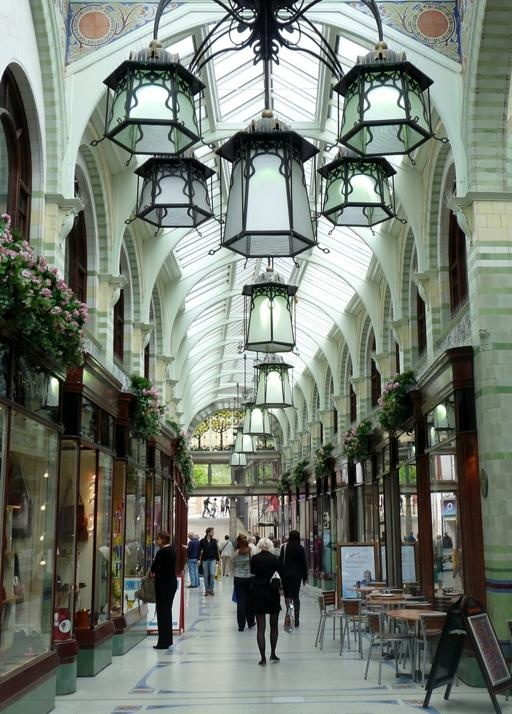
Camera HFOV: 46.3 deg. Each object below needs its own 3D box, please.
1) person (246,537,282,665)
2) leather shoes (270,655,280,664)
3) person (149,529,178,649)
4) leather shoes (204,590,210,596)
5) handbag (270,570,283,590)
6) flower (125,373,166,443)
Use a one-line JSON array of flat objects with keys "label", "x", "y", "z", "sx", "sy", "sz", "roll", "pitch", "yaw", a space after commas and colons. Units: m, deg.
[{"label": "person", "x": 0.151, "y": 3.544, "z": 8.737, "sx": 0.411, "sy": 1.707, "sz": 1.113, "roll": -2, "pitch": -14, "yaw": 0}, {"label": "leather shoes", "x": 0.264, "y": 4.306, "z": 8.523, "sx": 0.145, "sy": 0.166, "sz": 0.069, "roll": 2, "pitch": -5, "yaw": -17}, {"label": "person", "x": -1.540, "y": 3.905, "z": 9.969, "sx": 0.429, "sy": 1.865, "sz": 0.577, "roll": 0, "pitch": -14, "yaw": -9}, {"label": "leather shoes", "x": -1.726, "y": 8.334, "z": 21.059, "sx": 0.115, "sy": 0.121, "sz": 0.219, "roll": 1, "pitch": -44, "yaw": -3}, {"label": "handbag", "x": 0.289, "y": 3.169, "z": 8.488, "sx": 0.112, "sy": 0.258, "sz": 0.332, "roll": -5, "pitch": -15, "yaw": 11}, {"label": "flower", "x": -2.066, "y": 0.962, "z": 11.749, "sx": 0.525, "sy": 1.073, "sz": 0.824, "roll": 11, "pitch": 9, "yaw": 7}]
